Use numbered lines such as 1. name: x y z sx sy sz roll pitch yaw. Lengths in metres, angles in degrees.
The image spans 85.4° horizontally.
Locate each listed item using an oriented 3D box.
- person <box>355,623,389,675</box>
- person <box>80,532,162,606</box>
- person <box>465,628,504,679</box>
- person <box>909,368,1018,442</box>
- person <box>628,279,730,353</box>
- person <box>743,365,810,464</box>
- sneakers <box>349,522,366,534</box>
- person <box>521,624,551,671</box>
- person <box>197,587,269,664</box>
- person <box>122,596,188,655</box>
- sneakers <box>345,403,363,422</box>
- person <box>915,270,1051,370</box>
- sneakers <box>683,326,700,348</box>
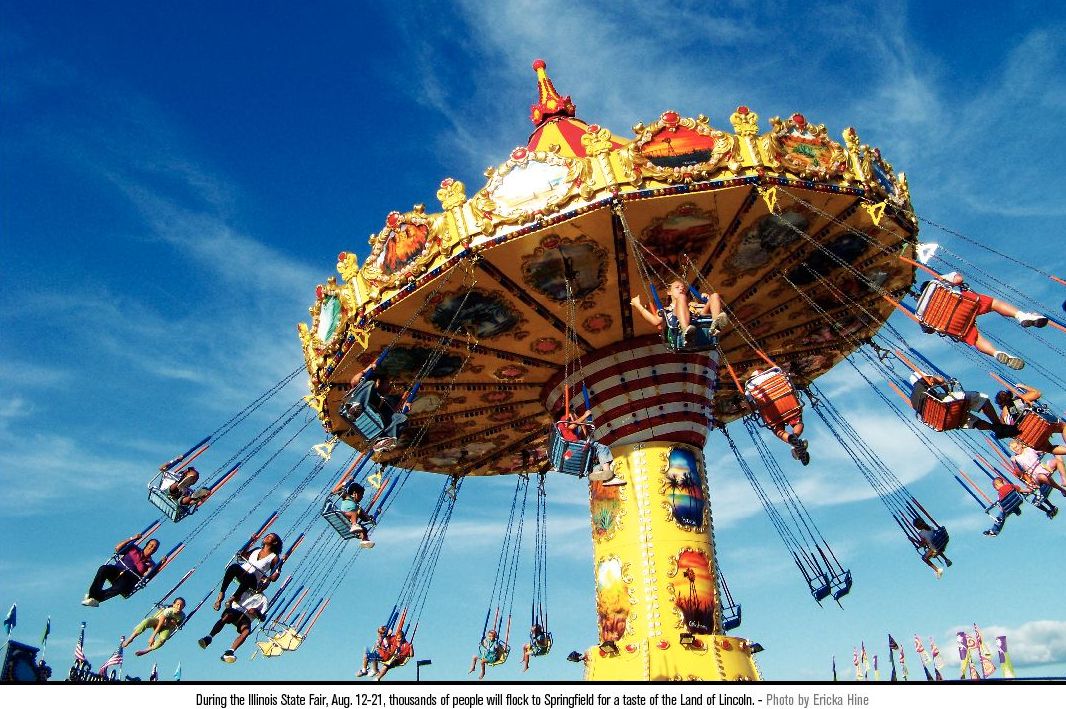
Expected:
1. person: -3.542 6.960 13.551 0.759 0.483 1.127 6 -93 -10
2. person: -6.970 3.832 10.161 0.663 1.151 0.791 -19 -49 22
3. person: -1.073 7.504 14.511 0.667 0.792 1.163 -8 -69 -42
4. person: 6.538 0.827 8.882 0.822 1.266 0.458 -17 -66 -32
5. person: 2.435 -0.789 9.413 1.420 1.448 1.014 -4 -25 8
6. person: 4.077 0.927 9.937 1.071 0.766 1.820 -37 -26 11
7. sneakers: -3.275 3.375 11.134 0.259 0.149 0.156 2 -85 -19
8. person: 0.252 7.597 15.321 0.578 1.066 0.374 -15 -69 8
9. person: -5.428 5.088 11.057 0.814 1.718 0.601 38 -79 -8
10. person: -6.718 5.049 10.734 1.084 0.566 0.365 -48 -12 -10
11. sneakers: -3.115 1.043 10.442 0.279 0.141 0.391 18 -44 -15
12. person: 6.525 -0.488 8.795 0.887 1.733 1.046 3 -45 2
13. sneakers: 2.436 -0.277 9.076 0.127 0.226 0.329 -2 -64 -9
